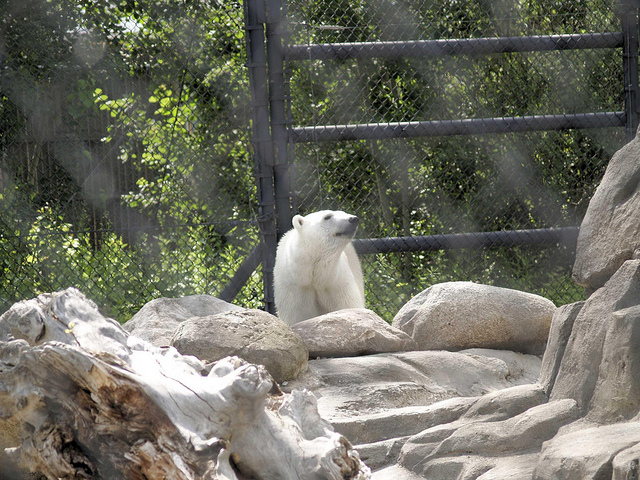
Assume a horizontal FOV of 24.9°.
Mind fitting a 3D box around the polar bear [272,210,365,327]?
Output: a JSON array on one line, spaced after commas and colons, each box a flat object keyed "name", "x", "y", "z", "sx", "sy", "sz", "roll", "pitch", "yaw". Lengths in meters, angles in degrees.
[{"name": "polar bear", "x": -0.047, "y": 0.351, "z": 12.922, "sx": 0.783, "sy": 1.265, "sz": 1.570, "roll": -5, "pitch": 2, "yaw": -8}]
